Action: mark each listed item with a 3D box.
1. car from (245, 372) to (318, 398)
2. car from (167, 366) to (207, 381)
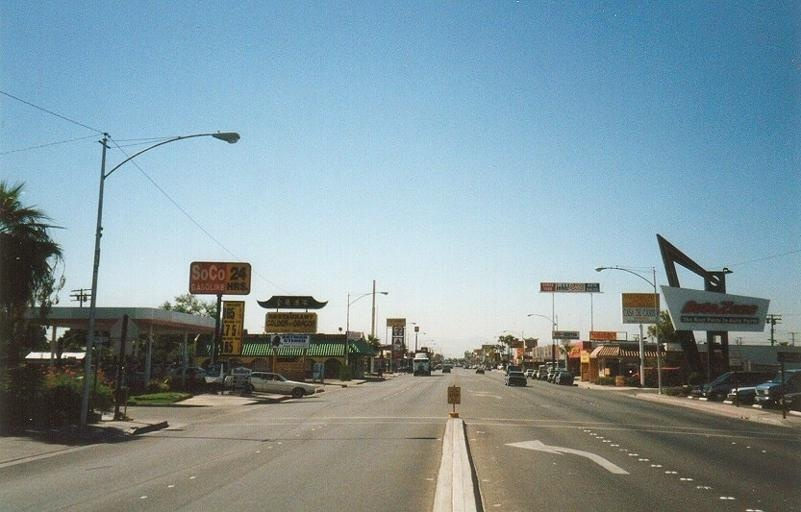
[{"bbox_3d":[-9.108,10.057,54.352,4.666,1.438,2.055,-1,-7,0],"label":"car"},{"bbox_3d":[-17.551,9.792,57.826,2.673,1.091,1.427,-2,-8,7],"label":"car"}]
